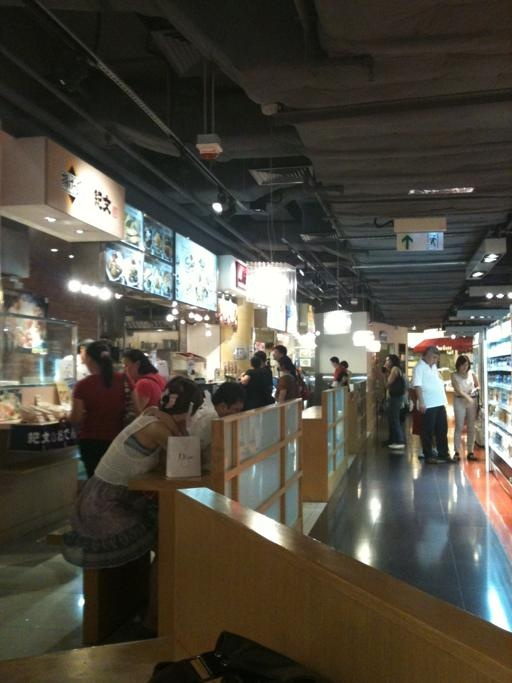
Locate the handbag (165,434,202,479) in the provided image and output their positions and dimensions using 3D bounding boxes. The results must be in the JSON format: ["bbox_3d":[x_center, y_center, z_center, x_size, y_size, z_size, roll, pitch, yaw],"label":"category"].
[{"bbox_3d":[-0.350,0.564,2.635,0.180,0.164,0.063,8,-13,-39],"label":"handbag"}]

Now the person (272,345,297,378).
[{"bbox_3d":[0.429,0.338,8.919,0.314,0.268,0.809,-20,12,4],"label":"person"}]

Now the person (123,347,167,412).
[{"bbox_3d":[-0.956,0.323,4.639,0.272,0.809,0.325,-7,-19,5],"label":"person"}]
